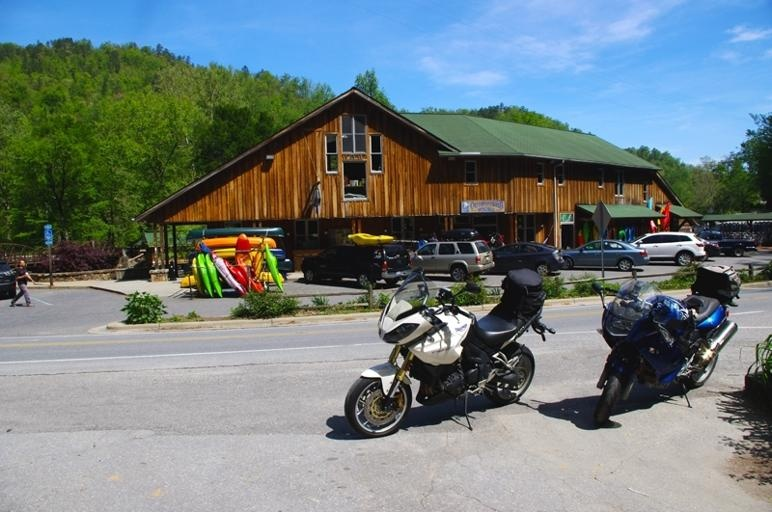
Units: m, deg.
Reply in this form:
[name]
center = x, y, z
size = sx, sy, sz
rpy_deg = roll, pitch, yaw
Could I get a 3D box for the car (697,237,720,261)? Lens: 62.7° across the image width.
[car]
center = 19.929, -0.378, 39.207
size = 1.610, 1.205, 3.491
rpy_deg = 1, 6, 34

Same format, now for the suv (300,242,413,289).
[suv]
center = -1.496, 0.344, 29.145
size = 4.433, 1.712, 2.091
rpy_deg = 6, 6, 35
